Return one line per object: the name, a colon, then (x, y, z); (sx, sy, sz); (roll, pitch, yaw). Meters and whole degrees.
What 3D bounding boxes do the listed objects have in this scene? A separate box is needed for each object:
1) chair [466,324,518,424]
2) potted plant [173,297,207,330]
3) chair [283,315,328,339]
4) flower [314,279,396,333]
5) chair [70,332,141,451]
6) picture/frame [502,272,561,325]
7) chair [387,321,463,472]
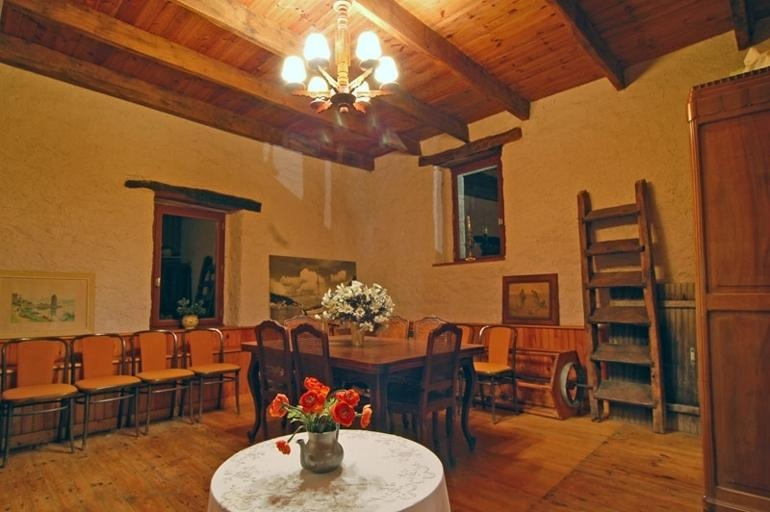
chair: (1.238, 1.335, 6.573); (0.685, 1.049, 0.645); (4, -6, -40)
potted plant: (-2.569, 0.761, 7.333); (0.350, 0.475, 0.462); (-11, -14, 24)
chair: (-0.903, 0.808, 6.276); (0.264, 0.360, 0.296); (12, -22, -39)
flower: (-0.226, 0.656, 6.132); (0.788, 0.599, 0.681); (-3, -22, 18)
chair: (-3.148, 1.452, 6.172); (0.595, 1.158, 0.655); (3, 3, 43)
picture/frame: (1.918, 0.554, 7.100); (0.647, 0.592, 0.051); (-7, -14, 40)
chair: (0.278, 1.366, 5.680); (1.002, 1.340, 1.048); (2, -3, -7)
